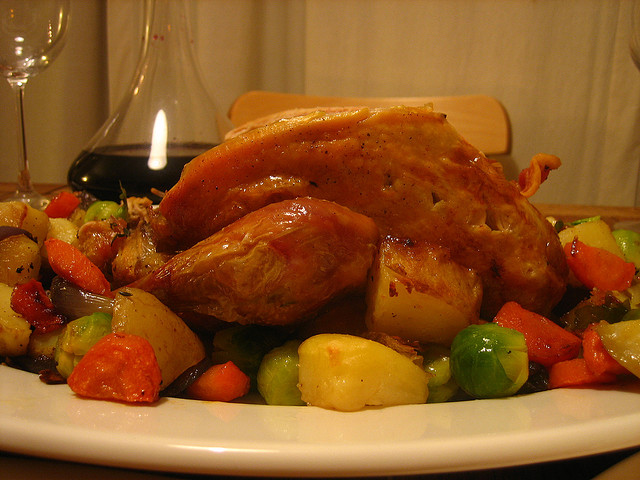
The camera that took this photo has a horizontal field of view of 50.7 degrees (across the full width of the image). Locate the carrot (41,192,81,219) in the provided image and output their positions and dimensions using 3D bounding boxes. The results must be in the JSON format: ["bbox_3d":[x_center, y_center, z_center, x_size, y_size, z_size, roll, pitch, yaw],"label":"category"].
[{"bbox_3d":[-0.667,-0.087,1.743,0.036,0.074,0.073,52,20,3],"label":"carrot"}]

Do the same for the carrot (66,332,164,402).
[{"bbox_3d":[-0.329,0.211,1.104,0.140,0.082,0.089,6,22,8],"label":"carrot"}]

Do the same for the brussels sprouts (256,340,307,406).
[{"bbox_3d":[-0.070,0.237,1.224,0.078,0.100,0.059,-6,20,-31],"label":"brussels sprouts"}]

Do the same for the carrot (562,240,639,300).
[{"bbox_3d":[0.571,0.053,1.417,0.134,0.046,0.141,25,-5,14],"label":"carrot"}]

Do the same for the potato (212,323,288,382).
[{"bbox_3d":[-0.133,0.200,1.306,0.085,0.104,0.122,-10,15,-39],"label":"potato"}]

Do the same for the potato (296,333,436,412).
[{"bbox_3d":[0.060,0.195,1.187,0.214,0.120,0.129,-4,16,-16],"label":"potato"}]

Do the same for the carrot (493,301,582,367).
[{"bbox_3d":[0.409,0.177,1.259,0.115,0.089,0.165,5,9,-4],"label":"carrot"}]

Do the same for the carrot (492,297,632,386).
[{"bbox_3d":[0.432,0.187,1.231,0.121,0.091,0.249,-10,25,-29],"label":"carrot"}]

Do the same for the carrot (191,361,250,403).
[{"bbox_3d":[-0.175,0.247,1.184,0.081,0.052,0.063,3,-2,14],"label":"carrot"}]

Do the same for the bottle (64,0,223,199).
[{"bbox_3d":[-0.514,-0.387,1.869,0.404,0.522,0.353,6,22,10],"label":"bottle"}]

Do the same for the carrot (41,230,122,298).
[{"bbox_3d":[-0.485,0.078,1.356,0.079,0.085,0.262,-15,-18,-3],"label":"carrot"}]

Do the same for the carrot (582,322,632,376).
[{"bbox_3d":[0.493,0.186,1.158,0.069,0.069,0.026,0,-25,1],"label":"carrot"}]
